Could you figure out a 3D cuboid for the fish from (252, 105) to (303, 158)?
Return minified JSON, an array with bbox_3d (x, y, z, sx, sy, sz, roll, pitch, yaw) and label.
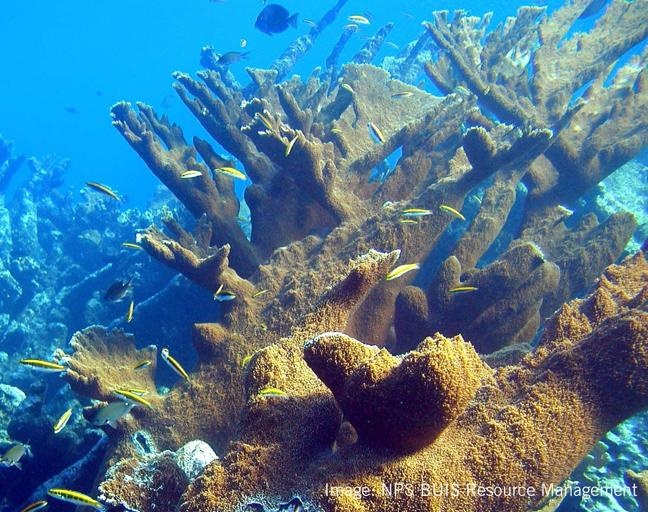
[{"bbox_3d":[-0.833,-2.131,12.407,1.021,0.533,0.402,41,-21,29],"label":"fish"}]
